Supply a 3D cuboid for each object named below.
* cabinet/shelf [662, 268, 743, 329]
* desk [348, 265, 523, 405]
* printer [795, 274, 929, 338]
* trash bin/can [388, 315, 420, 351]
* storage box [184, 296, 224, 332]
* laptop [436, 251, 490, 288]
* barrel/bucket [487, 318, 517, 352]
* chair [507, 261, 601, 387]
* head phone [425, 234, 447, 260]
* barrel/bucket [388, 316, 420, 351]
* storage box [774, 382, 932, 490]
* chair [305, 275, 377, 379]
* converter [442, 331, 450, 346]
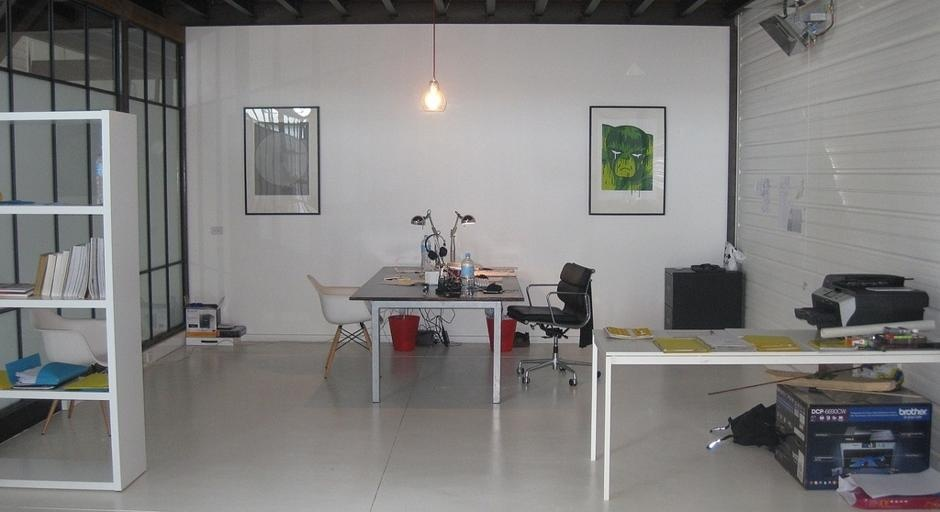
[{"bbox_3d":[3.225,0.587,8.731,1.046,1.242,0.789,1,4,6],"label":"cabinet/shelf"},{"bbox_3d":[-0.328,0.911,8.165,1.949,1.379,1.898,0,6,5],"label":"desk"},{"bbox_3d":[3.764,0.455,6.134,0.921,0.394,0.639,0,2,7],"label":"printer"},{"bbox_3d":[-0.945,1.095,8.998,0.516,0.448,0.500,-1,-9,-3],"label":"trash bin/can"},{"bbox_3d":[-3.905,0.869,9.341,0.430,0.490,0.523,1,9,-19],"label":"storage box"},{"bbox_3d":[-0.061,0.172,7.941,0.368,0.392,0.481,6,5,7],"label":"laptop"},{"bbox_3d":[0.427,1.069,8.674,0.483,0.378,0.494,0,-1,0],"label":"barrel/bucket"},{"bbox_3d":[0.999,0.839,8.144,1.233,1.344,1.121,-2,2,2],"label":"chair"},{"bbox_3d":[-0.488,-0.107,8.590,0.133,0.376,0.317,-21,5,16],"label":"head phone"},{"bbox_3d":[-0.956,1.090,9.001,0.522,0.451,0.523,-1,-7,0],"label":"barrel/bucket"},{"bbox_3d":[3.698,1.690,6.371,1.074,0.607,1.025,1,0,1],"label":"storage box"},{"bbox_3d":[-1.612,0.823,8.308,0.904,1.117,0.994,-3,7,-27],"label":"chair"},{"bbox_3d":[-0.352,1.170,9.117,0.137,0.171,0.066,8,-3,-28],"label":"converter"}]
